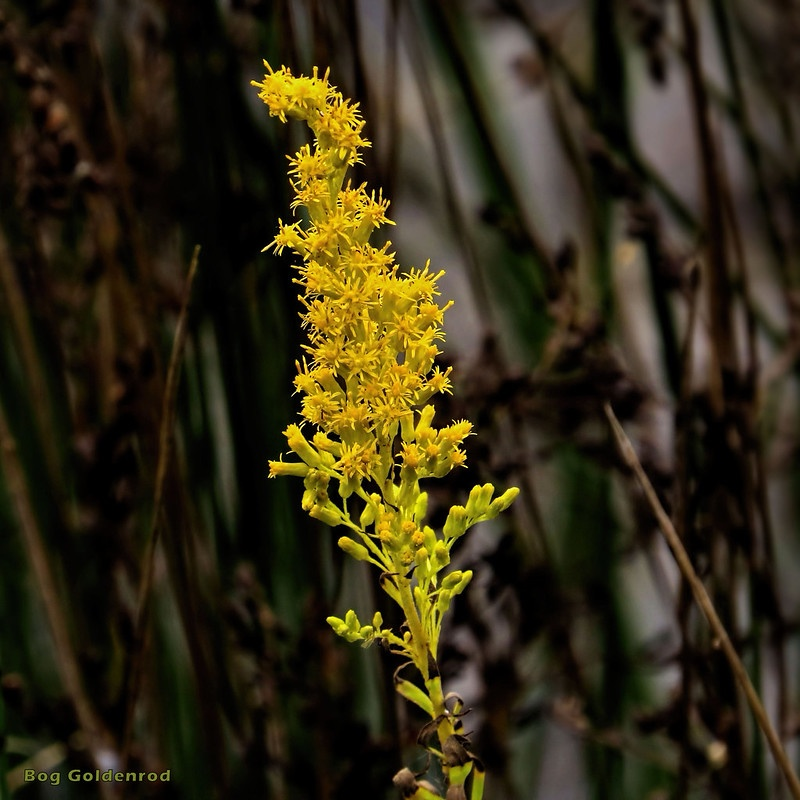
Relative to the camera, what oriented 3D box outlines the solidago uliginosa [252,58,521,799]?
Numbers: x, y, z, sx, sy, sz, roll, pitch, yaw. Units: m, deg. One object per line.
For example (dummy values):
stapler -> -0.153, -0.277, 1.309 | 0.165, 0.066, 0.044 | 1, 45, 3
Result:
solidago uliginosa -> -0.018, 0.015, 1.897 | 0.264, 0.867, 0.353 | -1, -5, -5
